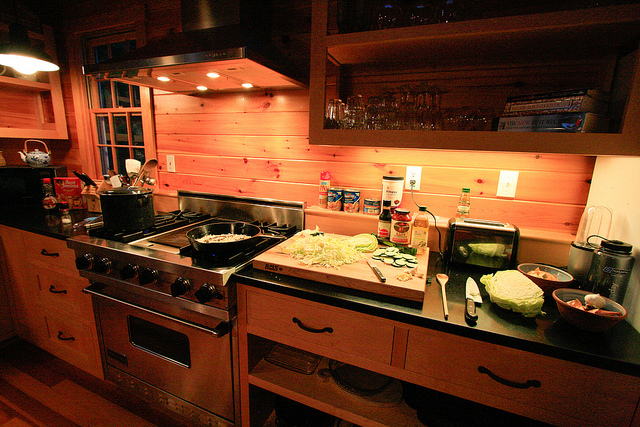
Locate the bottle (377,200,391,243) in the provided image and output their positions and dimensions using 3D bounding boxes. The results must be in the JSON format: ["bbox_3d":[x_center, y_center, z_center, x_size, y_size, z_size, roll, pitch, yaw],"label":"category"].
[{"bbox_3d":[0.408,0.049,2.651,0.074,0.258,0.108,4,15,1],"label":"bottle"}]

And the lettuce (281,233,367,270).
[{"bbox_3d":[0.012,0.220,2.443,0.287,0.054,0.283,18,23,38],"label":"lettuce"}]

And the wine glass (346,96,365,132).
[{"bbox_3d":[0.219,-0.628,2.614,0.128,0.199,0.120,11,16,29],"label":"wine glass"}]

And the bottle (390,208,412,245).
[{"bbox_3d":[0.498,0.082,2.572,0.128,0.216,0.068,5,15,8],"label":"bottle"}]

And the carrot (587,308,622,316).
[{"bbox_3d":[1.407,0.488,2.080,0.074,0.014,0.069,3,2,0],"label":"carrot"}]

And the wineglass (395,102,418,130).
[{"bbox_3d":[0.546,-0.605,2.581,0.166,0.173,0.141,-4,16,-3],"label":"wineglass"}]

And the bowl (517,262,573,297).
[{"bbox_3d":[1.235,0.343,2.314,0.225,0.074,0.224,2,4,0],"label":"bowl"}]

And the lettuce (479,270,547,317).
[{"bbox_3d":[1.019,0.382,2.308,0.315,0.101,0.259,5,46,11],"label":"lettuce"}]

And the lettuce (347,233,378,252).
[{"bbox_3d":[0.261,0.175,2.583,0.158,0.056,0.114,9,3,8],"label":"lettuce"}]

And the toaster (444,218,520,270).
[{"bbox_3d":[0.917,0.212,2.628,0.597,0.299,0.297,5,0,-25],"label":"toaster"}]

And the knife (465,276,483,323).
[{"bbox_3d":[0.829,0.448,2.267,0.102,0.037,0.369,20,32,12],"label":"knife"}]

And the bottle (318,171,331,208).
[{"bbox_3d":[0.029,-0.172,2.945,0.085,0.245,0.143,4,14,0],"label":"bottle"}]

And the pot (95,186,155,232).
[{"bbox_3d":[-1.303,-0.036,2.812,0.387,0.225,0.315,2,10,21],"label":"pot"}]

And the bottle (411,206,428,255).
[{"bbox_3d":[0.607,0.118,2.546,0.084,0.242,0.111,3,15,-1],"label":"bottle"}]

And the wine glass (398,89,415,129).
[{"bbox_3d":[0.525,-0.626,2.536,0.095,0.235,0.150,6,14,8],"label":"wine glass"}]

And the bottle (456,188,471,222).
[{"bbox_3d":[0.892,-0.061,2.605,0.073,0.197,0.228,9,14,18],"label":"bottle"}]

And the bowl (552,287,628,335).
[{"bbox_3d":[1.351,0.477,2.120,0.309,0.125,0.269,1,5,-14],"label":"bowl"}]

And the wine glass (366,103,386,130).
[{"bbox_3d":[0.337,-0.595,2.574,0.083,0.156,0.109,-8,18,-37],"label":"wine glass"}]

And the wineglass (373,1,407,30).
[{"bbox_3d":[0.406,-1.155,2.449,0.196,0.158,0.070,4,15,7],"label":"wineglass"}]

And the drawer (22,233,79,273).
[{"bbox_3d":[-1.836,0.253,2.946,0.489,0.168,0.287,8,15,16],"label":"drawer"}]
